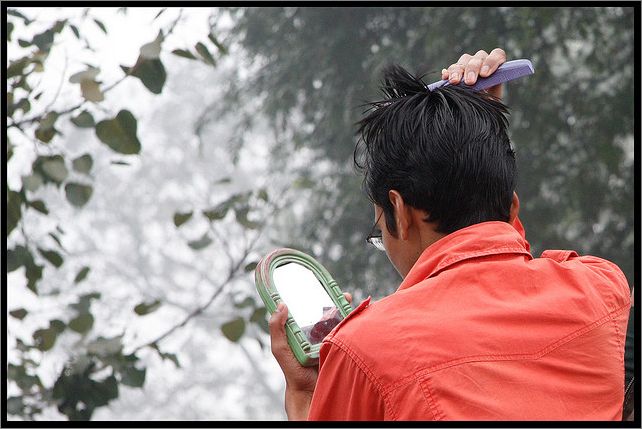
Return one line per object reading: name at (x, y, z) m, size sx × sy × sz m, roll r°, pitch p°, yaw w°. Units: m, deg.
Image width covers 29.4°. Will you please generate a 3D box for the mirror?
mirror at (-0.046, 0.376, 5.075) m, size 0.392 × 0.563 × 0.065 m, roll -2°, pitch -41°, yaw -40°
